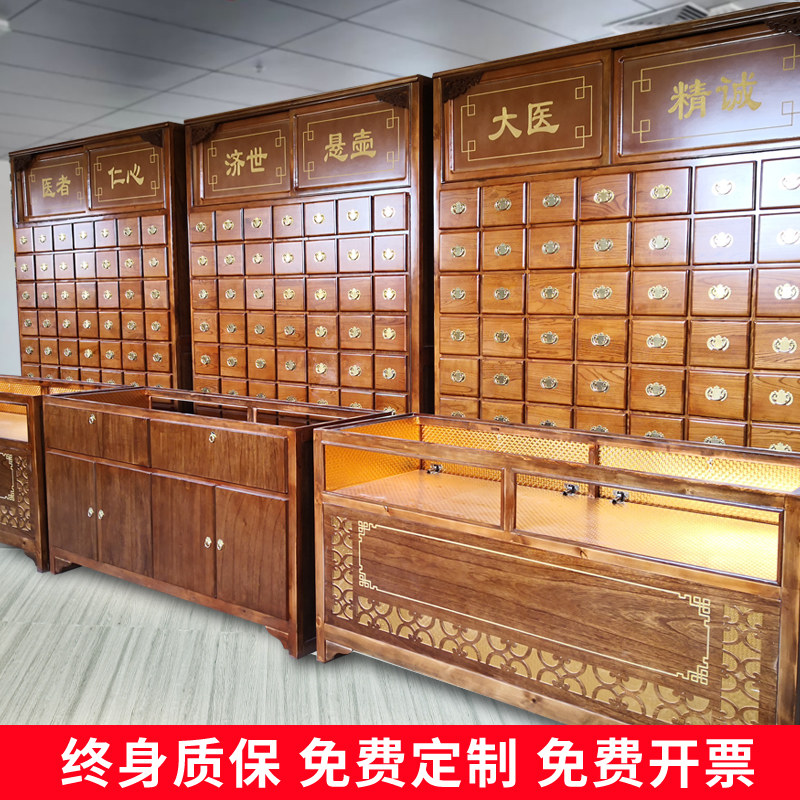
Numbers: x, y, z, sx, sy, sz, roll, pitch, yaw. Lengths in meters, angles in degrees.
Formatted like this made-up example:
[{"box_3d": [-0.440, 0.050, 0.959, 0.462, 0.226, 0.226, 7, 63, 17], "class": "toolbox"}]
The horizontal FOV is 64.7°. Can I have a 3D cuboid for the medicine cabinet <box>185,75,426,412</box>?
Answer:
[{"box_3d": [-0.669, -0.985, 4.248, 1.943, 2.072, 0.165, 2, 7, 31], "class": "medicine cabinet"}]
